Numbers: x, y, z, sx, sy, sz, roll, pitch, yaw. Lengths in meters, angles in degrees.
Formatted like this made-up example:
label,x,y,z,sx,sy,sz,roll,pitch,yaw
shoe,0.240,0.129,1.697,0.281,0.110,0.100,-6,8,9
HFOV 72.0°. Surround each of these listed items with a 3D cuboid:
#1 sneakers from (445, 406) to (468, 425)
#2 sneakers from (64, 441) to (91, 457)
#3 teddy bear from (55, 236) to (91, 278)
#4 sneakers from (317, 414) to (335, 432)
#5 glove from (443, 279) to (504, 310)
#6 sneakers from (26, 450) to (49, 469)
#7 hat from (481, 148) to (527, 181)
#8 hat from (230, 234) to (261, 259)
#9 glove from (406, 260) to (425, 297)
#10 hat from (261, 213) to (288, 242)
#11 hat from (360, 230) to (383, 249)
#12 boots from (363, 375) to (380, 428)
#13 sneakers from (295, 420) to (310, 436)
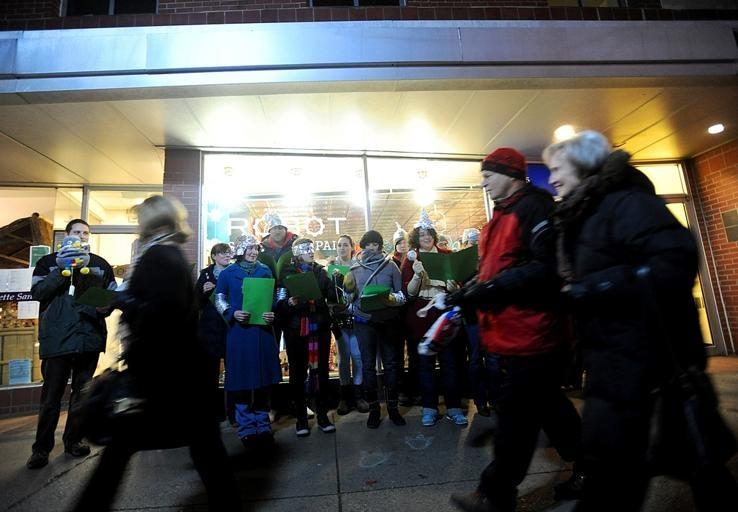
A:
label,x,y,z,sx,sy,sz,roll,pitch,yaw
sneakers,1.050,1.921,6.082,0.120,0.110,0.278,2,-15,-16
sneakers,-3.197,2.127,5.634,0.301,0.111,0.120,9,-1,12
teddy bear,-3.406,-0.012,5.840,0.428,0.420,0.366,-1,4,35
sneakers,-0.514,1.987,6.036,0.238,0.201,0.188,-2,6,10
glove,0.866,0.324,4.241,0.405,0.158,0.231,-13,-8,28
sneakers,-3.465,2.150,5.334,0.148,0.189,0.200,47,-14,-29
hat,1.155,-0.888,4.554,0.382,0.231,0.348,27,18,12
hat,-1.511,-0.119,6.172,0.329,0.300,0.252,-32,1,-1
glove,0.577,0.288,6.290,0.149,0.391,0.313,11,-14,-4
hat,-1.370,-0.398,7.249,0.415,0.397,0.429,-4,-17,-16
hat,0.024,-0.201,6.349,0.221,0.192,0.269,4,3,-1
boots,0.018,1.784,6.158,0.199,0.476,0.415,-12,-3,9
sneakers,-0.782,2.012,6.006,0.170,0.192,0.239,-4,6,-7
